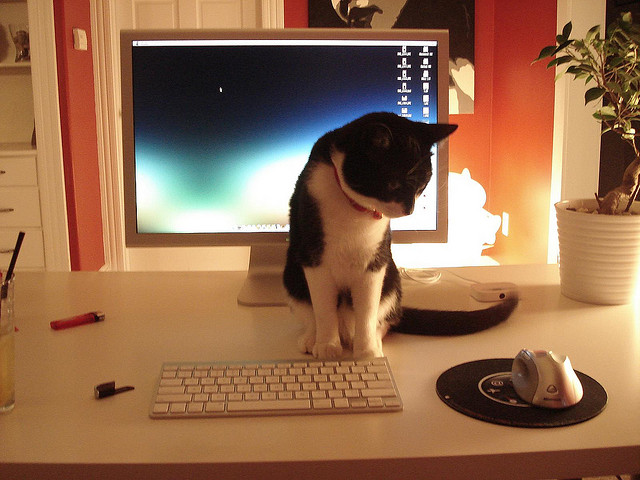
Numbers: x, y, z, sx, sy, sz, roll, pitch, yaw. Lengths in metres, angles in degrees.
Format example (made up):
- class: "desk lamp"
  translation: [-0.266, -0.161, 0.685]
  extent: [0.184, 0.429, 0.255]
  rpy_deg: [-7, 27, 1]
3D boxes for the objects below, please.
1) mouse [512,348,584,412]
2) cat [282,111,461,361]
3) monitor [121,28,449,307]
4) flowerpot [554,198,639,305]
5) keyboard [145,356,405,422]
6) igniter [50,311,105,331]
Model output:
- class: "mouse"
  translation: [0.369, 0.206, 0.888]
  extent: [0.108, 0.069, 0.166]
  rpy_deg: [-8, 7, 12]
- class: "cat"
  translation: [0.080, -0.021, 1.038]
  extent: [0.238, 0.477, 0.383]
  rpy_deg: [-2, 17, -20]
- class: "monitor"
  translation: [-0.077, -0.179, 1.157]
  extent: [0.566, 0.520, 0.153]
  rpy_deg: [-1, 7, -5]
- class: "flowerpot"
  translation: [0.568, 0.025, 1.243]
  extent: [0.184, 0.210, 0.207]
  rpy_deg: [-1, 4, -4]
- class: "keyboard"
  translation: [-0.069, 0.234, 0.874]
  extent: [0.390, 0.046, 0.120]
  rpy_deg: [-1, 10, -3]
- class: "igniter"
  translation: [-0.474, 0.157, 1.074]
  extent: [0.069, 0.014, 0.040]
  rpy_deg: [-11, 14, -41]
